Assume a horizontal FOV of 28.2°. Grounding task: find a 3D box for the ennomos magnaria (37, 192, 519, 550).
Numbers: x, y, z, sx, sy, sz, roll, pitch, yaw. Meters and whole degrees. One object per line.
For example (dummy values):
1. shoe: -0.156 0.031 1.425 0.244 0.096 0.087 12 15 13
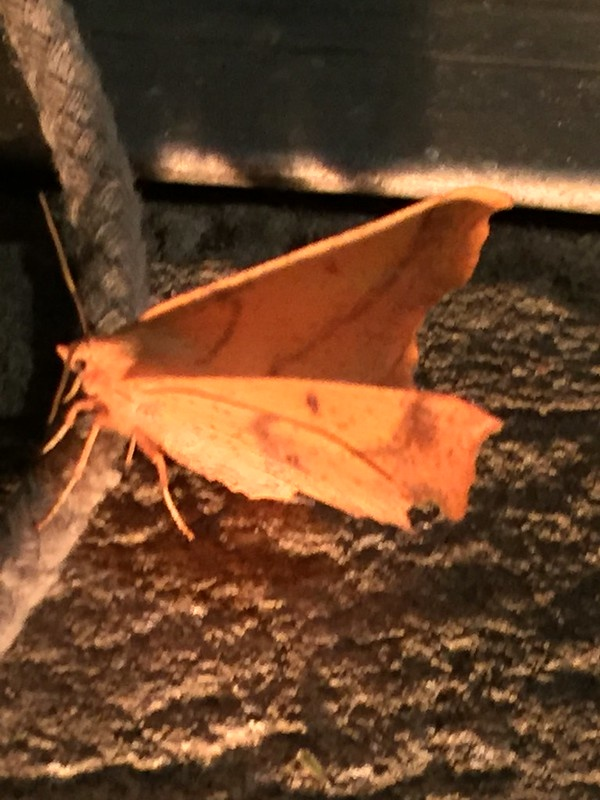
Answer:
1. ennomos magnaria: 0.006 -0.033 1.100 0.446 0.224 0.268 -1 30 -5
